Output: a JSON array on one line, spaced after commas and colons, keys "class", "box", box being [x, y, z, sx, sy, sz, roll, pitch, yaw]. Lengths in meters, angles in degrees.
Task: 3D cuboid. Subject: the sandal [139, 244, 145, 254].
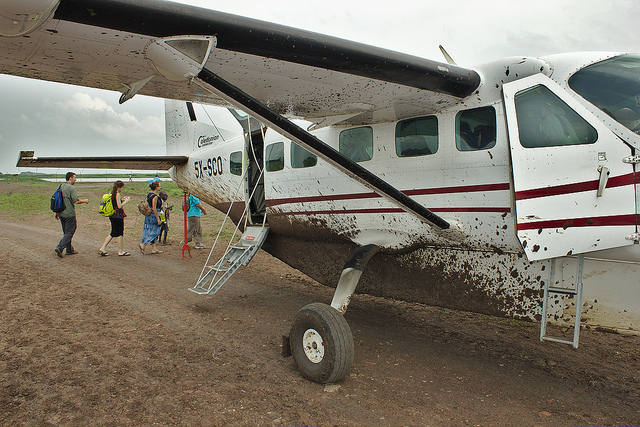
[{"class": "sandal", "box": [-4.985, 0.993, 11.824, 0.069, 0.223, 0.085, -14, 30, 7]}]

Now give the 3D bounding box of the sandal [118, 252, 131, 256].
[{"class": "sandal", "box": [-5.285, 1.088, 11.432, 0.296, 0.074, 0.119, -2, 5, -34]}]

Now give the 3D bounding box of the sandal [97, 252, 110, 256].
[{"class": "sandal", "box": [-5.777, 1.078, 11.320, 0.285, 0.069, 0.100, 6, 0, -10]}]

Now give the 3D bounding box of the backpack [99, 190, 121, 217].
[{"class": "backpack", "box": [-5.347, -0.237, 11.103, 0.620, 0.535, 0.468, -2, 7, -44]}]

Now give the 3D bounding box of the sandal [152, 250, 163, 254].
[{"class": "sandal", "box": [-4.664, 1.095, 12.135, 0.278, 0.071, 0.103, -3, 6, -42]}]

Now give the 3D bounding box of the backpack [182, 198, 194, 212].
[{"class": "backpack", "box": [-3.946, -0.264, 12.323, 0.290, 0.332, 0.364, 3, 30, 10]}]
